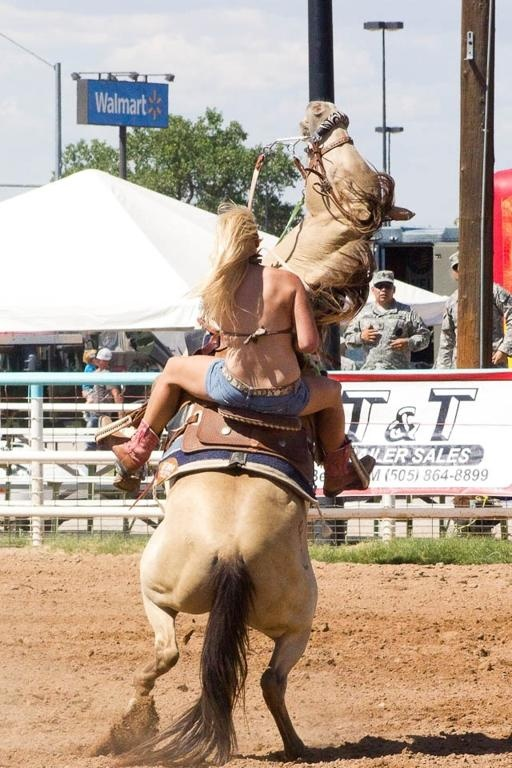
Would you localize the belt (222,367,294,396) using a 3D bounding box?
[{"bbox_3d":[0.018,-0.011,6.027,0.301,0.114,0.114,0,3,0],"label":"belt"}]

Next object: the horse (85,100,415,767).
[{"bbox_3d":[-0.027,0.190,6.317,0.755,2.853,1.035,2,3,37],"label":"horse"}]
